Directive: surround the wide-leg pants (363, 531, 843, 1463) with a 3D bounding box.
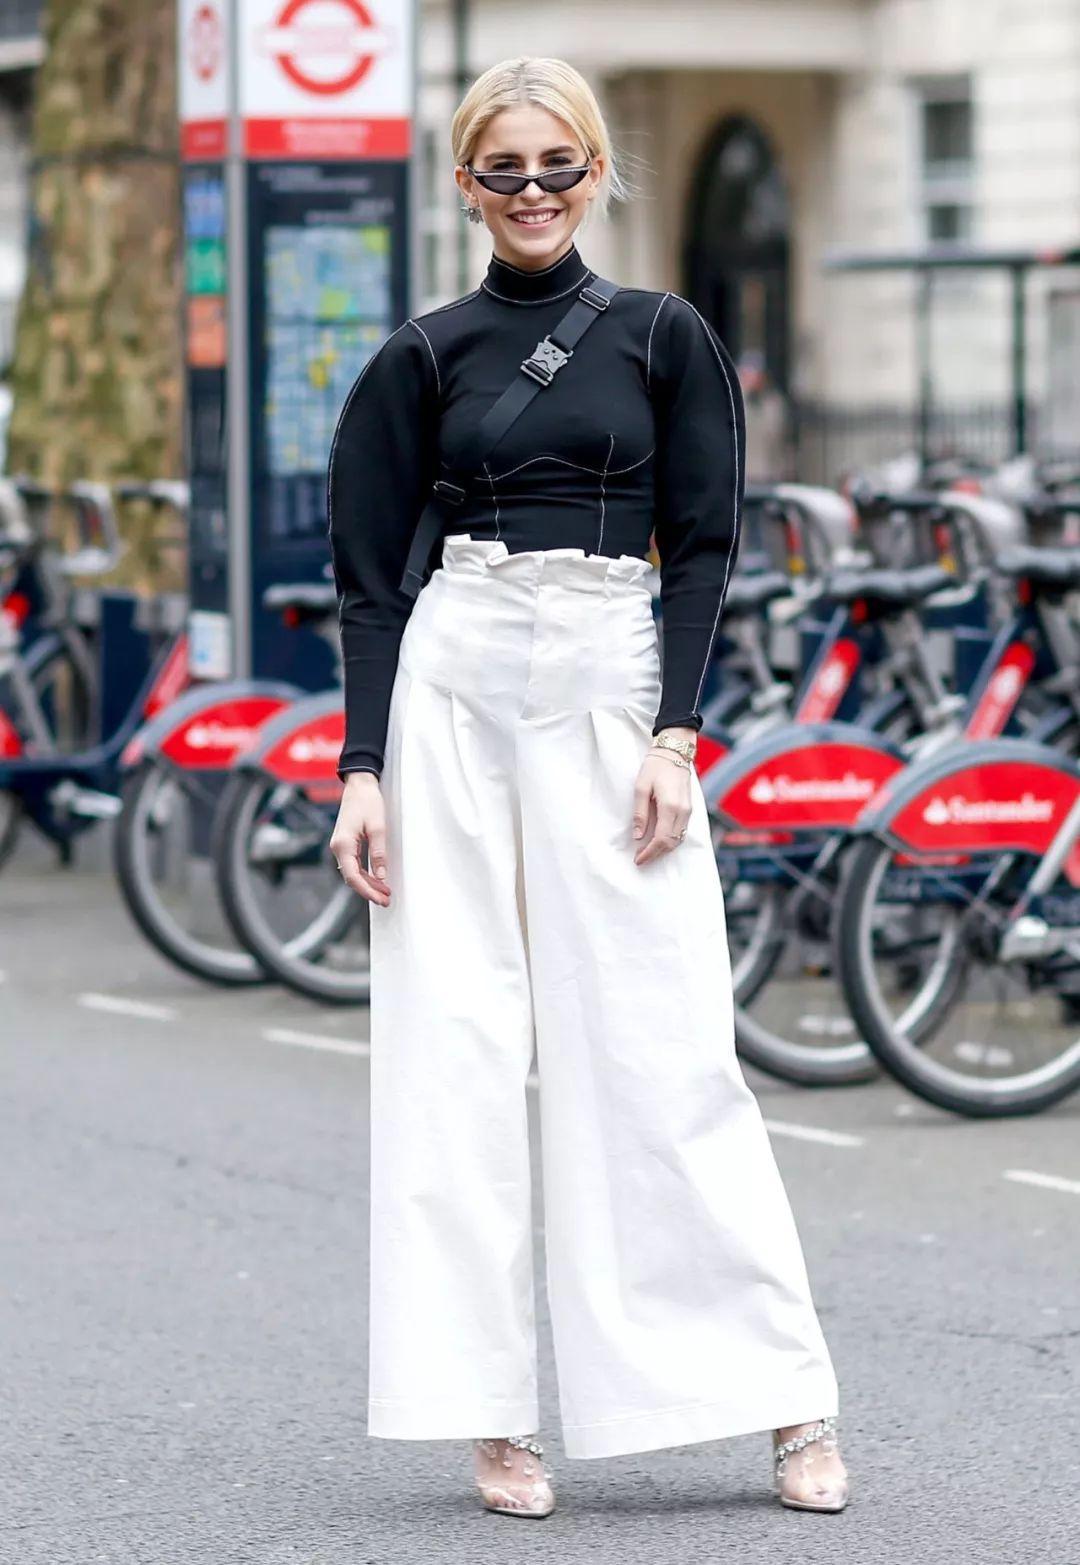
[{"bbox_3d":[0.058,0.254,2.190,0.522,1.064,0.173,-1,-2,-5],"label":"wide-leg pants"}]

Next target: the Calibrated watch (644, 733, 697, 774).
[{"bbox_3d":[0.143,-0.040,2.164,0.055,0.030,0.055,2,-20,40],"label":"Calibrated watch"}]

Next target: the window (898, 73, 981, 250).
[{"bbox_3d":[4.461,-6.808,21.034,0.650,1.849,0.913,-2,-1,11],"label":"window"}]
